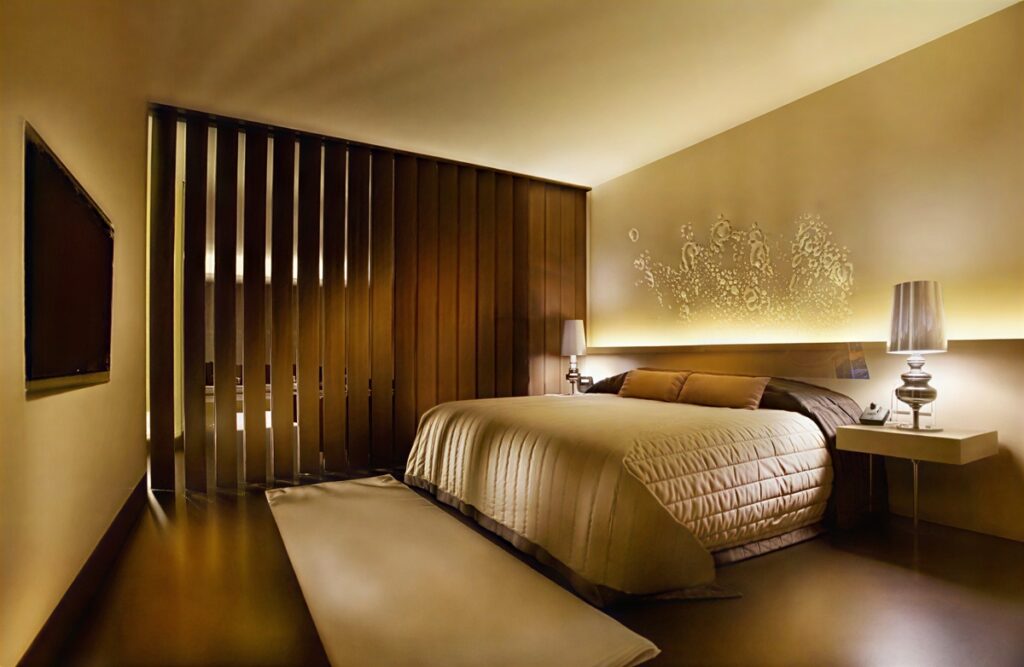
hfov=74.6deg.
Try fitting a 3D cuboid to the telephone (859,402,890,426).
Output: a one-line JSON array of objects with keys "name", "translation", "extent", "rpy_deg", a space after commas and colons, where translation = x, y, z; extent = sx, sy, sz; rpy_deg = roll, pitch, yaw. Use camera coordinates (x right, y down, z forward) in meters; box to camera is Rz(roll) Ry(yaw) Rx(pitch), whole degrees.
[{"name": "telephone", "translation": [2.643, 0.564, 4.843], "extent": [0.150, 0.090, 0.252], "rpy_deg": [-2, 2, 42]}]

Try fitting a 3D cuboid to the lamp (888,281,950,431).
[{"name": "lamp", "translation": [2.884, 0.139, 4.800], "extent": [0.359, 1.033, 0.594], "rpy_deg": [8, 16, 30]}]

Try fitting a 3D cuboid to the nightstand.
[{"name": "nightstand", "translation": [2.725, 1.028, 4.825], "extent": [0.765, 0.691, 0.605], "rpy_deg": [5, 0, 21]}]
